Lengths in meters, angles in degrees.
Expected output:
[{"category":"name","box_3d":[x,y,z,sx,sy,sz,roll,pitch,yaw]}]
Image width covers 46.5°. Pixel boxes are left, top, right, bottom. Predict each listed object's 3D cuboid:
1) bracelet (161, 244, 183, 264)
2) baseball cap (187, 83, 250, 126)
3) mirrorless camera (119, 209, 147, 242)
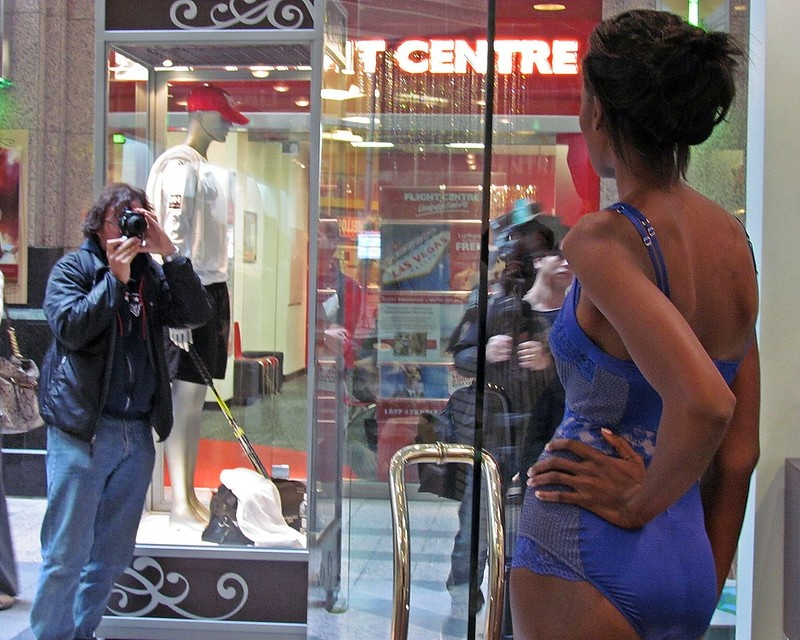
[{"category":"bracelet","box_3d":[-0.798,-0.237,3.251,0.048,0.070,0.066,0,38,-7]},{"category":"baseball cap","box_3d":[-0.749,-0.886,3.860,0.279,0.161,0.184,4,8,0]},{"category":"mirrorless camera","box_3d":[-0.889,-0.316,3.132,0.085,0.093,0.089,8,15,40]}]
